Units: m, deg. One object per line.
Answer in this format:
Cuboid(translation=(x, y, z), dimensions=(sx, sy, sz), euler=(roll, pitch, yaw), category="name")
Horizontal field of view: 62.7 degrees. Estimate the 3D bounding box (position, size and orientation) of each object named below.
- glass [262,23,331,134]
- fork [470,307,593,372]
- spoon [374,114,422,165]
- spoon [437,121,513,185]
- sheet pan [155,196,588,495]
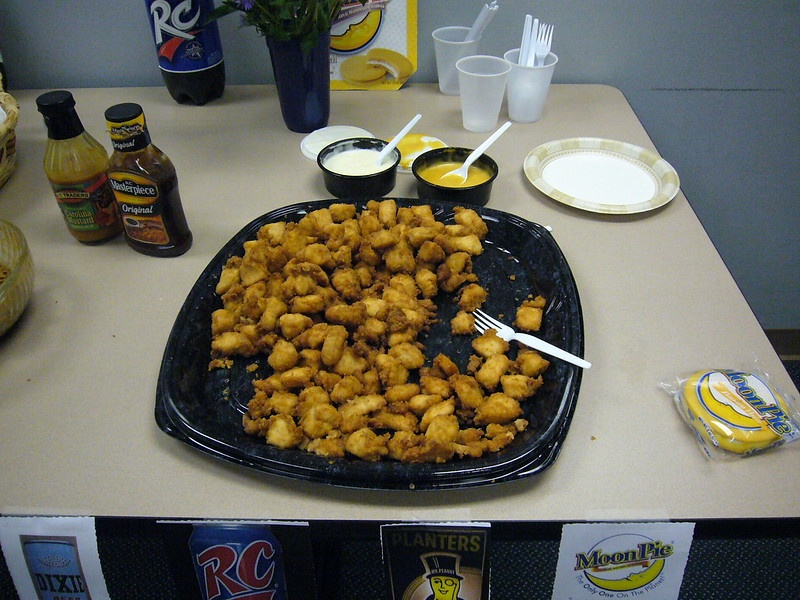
Cuboid(translation=(-0.305, -0.675, 2.024), dimensions=(0.221, 0.283, 0.197), euler=(-2, 30, 0), category="glass")
Cuboid(translation=(0.300, 0.093, 1.453), dimensions=(0.213, 0.026, 0.030), euler=(36, 83, 29), category="fork")
Cuboid(translation=(-0.004, -0.476, 1.970), dimensions=(0.044, 0.033, 0.296), euler=(9, 48, 48), category="spoon")
Cuboid(translation=(0.223, -0.421, 1.917), dimensions=(0.062, 0.308, 0.041), euler=(38, 21, -12), category="spoon")
Cuboid(translation=(-0.042, 0.049, 1.490), dimensions=(0.889, 0.118, 0.814), euler=(8, 46, 7), category="sheet pan")
